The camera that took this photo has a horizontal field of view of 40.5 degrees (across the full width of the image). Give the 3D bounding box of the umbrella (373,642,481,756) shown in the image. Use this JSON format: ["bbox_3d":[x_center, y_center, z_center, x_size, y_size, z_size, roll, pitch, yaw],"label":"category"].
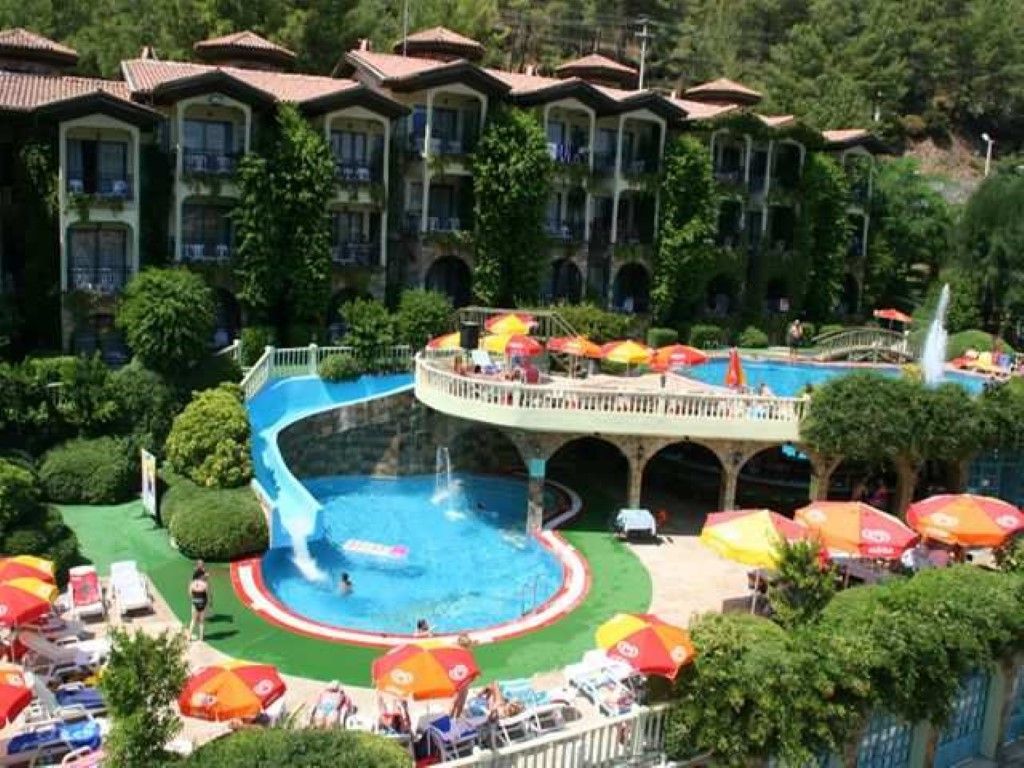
[{"bbox_3d":[-2.777,9.323,45.505,3.393,1.334,3.675,6,7,29],"label":"umbrella"}]

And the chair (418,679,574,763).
[{"bbox_3d":[-0.586,11.087,45.177,3.440,1.348,2.624,-15,20,-29],"label":"chair"}]

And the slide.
[{"bbox_3d":[-8.869,2.963,60.596,5.919,5.262,11.528,3,9,1],"label":"slide"}]

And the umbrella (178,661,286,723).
[{"bbox_3d":[-8.988,9.871,44.912,3.437,1.438,3.674,3,8,39],"label":"umbrella"}]

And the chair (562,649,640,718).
[{"bbox_3d":[3.209,10.270,46.887,1.597,1.224,2.394,-23,40,-36],"label":"chair"}]

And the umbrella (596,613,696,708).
[{"bbox_3d":[4.409,9.426,46.288,2.444,1.889,2.723,18,39,15],"label":"umbrella"}]

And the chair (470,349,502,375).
[{"bbox_3d":[-1.220,-0.903,62.467,1.094,0.877,1.173,-2,13,-31],"label":"chair"}]
